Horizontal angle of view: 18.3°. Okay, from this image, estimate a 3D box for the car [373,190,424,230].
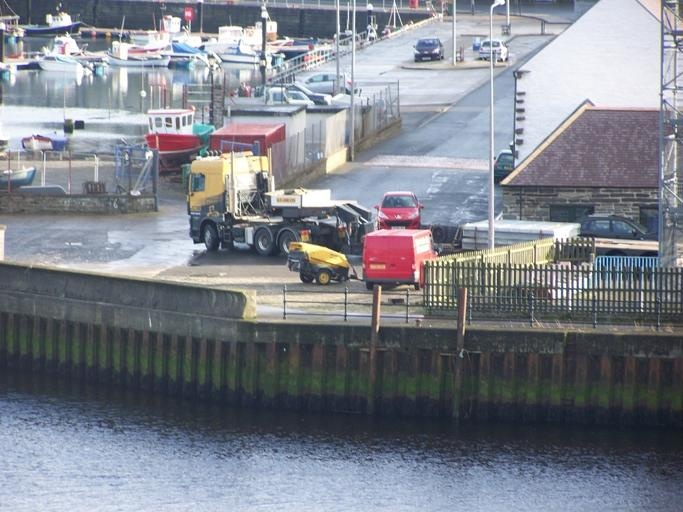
[{"bbox_3d":[3.071,-2.318,106.892,2.342,1.692,1.908,0,7,-1],"label":"car"}]
